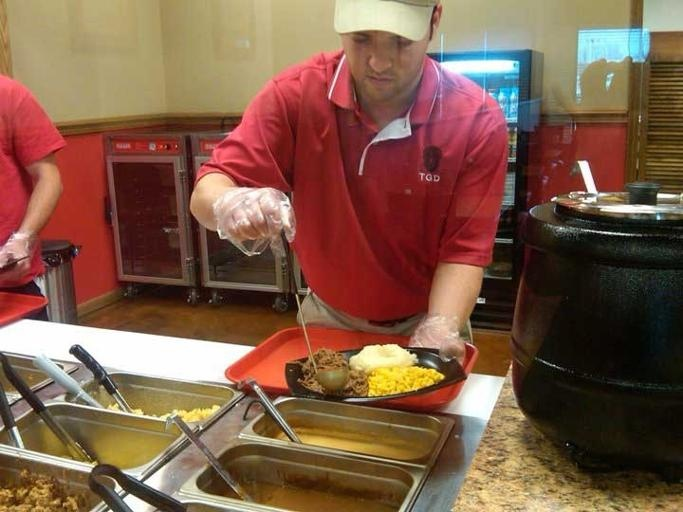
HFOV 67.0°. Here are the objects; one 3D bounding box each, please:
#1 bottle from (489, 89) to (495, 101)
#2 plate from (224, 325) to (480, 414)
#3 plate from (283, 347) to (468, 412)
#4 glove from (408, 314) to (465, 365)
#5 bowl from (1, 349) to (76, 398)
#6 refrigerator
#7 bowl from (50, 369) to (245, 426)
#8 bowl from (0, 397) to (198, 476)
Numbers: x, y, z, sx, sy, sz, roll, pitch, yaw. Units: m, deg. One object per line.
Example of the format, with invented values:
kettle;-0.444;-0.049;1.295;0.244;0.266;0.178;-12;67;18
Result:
bottle;0.396;-0.429;1.360;0.018;0.027;0.081;3;17;15
plate;-0.014;0.269;1.298;0.370;0.054;0.269;0;14;27
plate;0.113;0.280;1.118;0.237;0.040;0.187;1;9;22
glove;0.242;0.204;1.282;0.098;0.053;0.128;-10;4;-26
bowl;-0.809;0.309;1.347;0.160;0.057;0.126;6;13;8
refrigerator;0.541;-0.217;1.815;0.224;0.949;0.356;-24;29;-31
bowl;-0.426;0.286;1.220;0.305;0.098;0.165;5;11;23
bowl;-0.529;0.389;1.068;0.267;0.095;0.196;11;15;9
